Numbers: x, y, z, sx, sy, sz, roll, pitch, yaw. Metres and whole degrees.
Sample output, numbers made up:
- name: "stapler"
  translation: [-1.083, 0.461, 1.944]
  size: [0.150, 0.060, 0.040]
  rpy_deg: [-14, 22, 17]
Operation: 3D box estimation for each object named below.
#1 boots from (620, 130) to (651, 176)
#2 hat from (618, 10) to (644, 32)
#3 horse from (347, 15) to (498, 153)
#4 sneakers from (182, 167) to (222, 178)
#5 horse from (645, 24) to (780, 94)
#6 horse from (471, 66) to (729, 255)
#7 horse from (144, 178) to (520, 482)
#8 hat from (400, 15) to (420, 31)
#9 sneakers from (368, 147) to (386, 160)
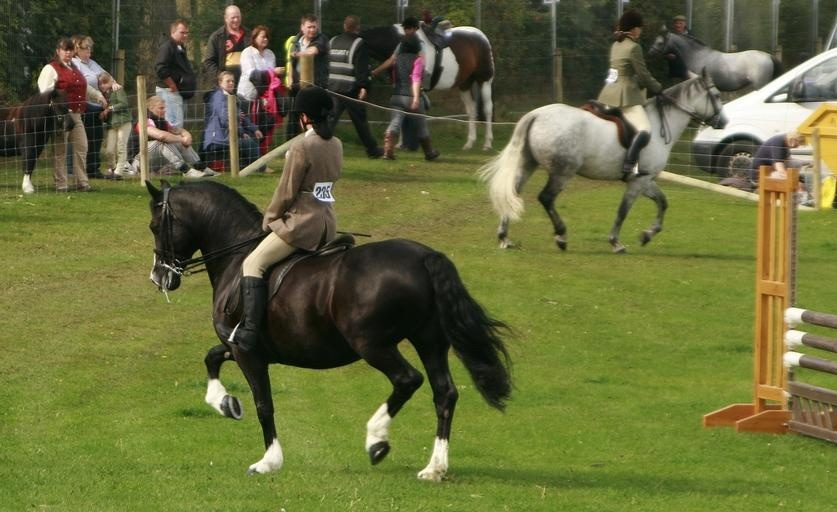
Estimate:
- name: "boots"
  translation: [4.227, -1.999, 26.735]
  size: [0.343, 1.078, 0.379]
  rpy_deg: [23, -1, -2]
- name: "hat"
  translation: [4.205, -4.681, 26.593]
  size: [0.393, 0.384, 0.449]
  rpy_deg: [3, 10, -1]
- name: "horse"
  translation: [0.024, -4.191, 33.332]
  size: [1.443, 3.317, 5.772]
  rpy_deg: [2, 8, 41]
- name: "sneakers"
  translation: [-4.649, -1.802, 28.787]
  size: [0.775, 0.247, 0.236]
  rpy_deg: [-3, 9, -2]
- name: "horse"
  translation: [8.119, -4.960, 36.750]
  size: [4.263, 2.085, 0.999]
  rpy_deg: [0, 19, -13]
- name: "horse"
  translation: [3.683, -1.933, 27.302]
  size: [5.806, 3.639, 1.496]
  rpy_deg: [-3, 13, -25]
- name: "horse"
  translation: [-1.402, 1.088, 19.742]
  size: [6.819, 3.884, 1.638]
  rpy_deg: [4, 3, 34]
- name: "hat"
  translation: [-0.167, -5.536, 31.799]
  size: [0.383, 0.376, 0.431]
  rpy_deg: [3, 18, 5]
- name: "sneakers"
  translation: [-0.982, -2.474, 32.155]
  size: [0.436, 0.161, 0.186]
  rpy_deg: [-7, 36, -3]
